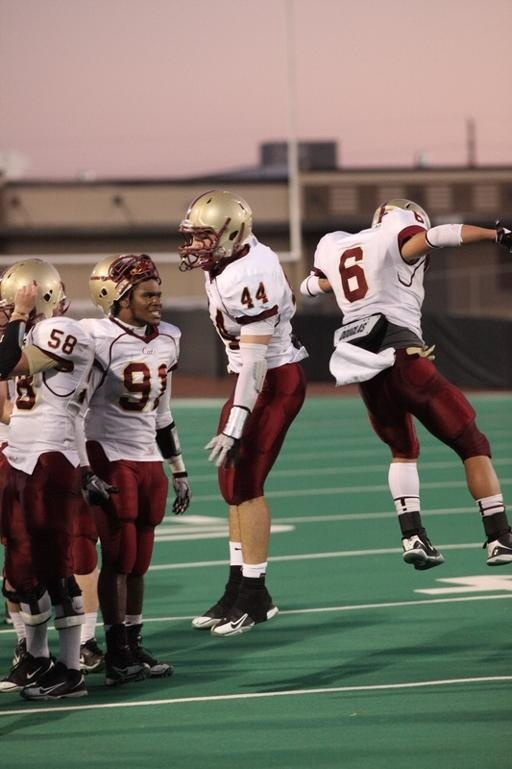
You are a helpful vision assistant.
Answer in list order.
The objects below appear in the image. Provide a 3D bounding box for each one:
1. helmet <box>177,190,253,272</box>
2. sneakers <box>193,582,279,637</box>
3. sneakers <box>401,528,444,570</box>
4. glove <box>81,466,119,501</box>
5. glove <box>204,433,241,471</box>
[{"bbox_3d":[-0.181,-0.690,3.801,0.469,0.355,0.339,-3,9,-16],"label":"helmet"},{"bbox_3d":[-0.015,0.988,3.807,0.457,0.244,0.156,0,0,-39],"label":"sneakers"},{"bbox_3d":[0.727,0.713,3.652,0.109,0.103,0.254,-10,-18,32],"label":"sneakers"},{"bbox_3d":[-0.528,0.342,2.954,0.082,0.100,0.147,-34,-15,37],"label":"glove"},{"bbox_3d":[-0.146,0.289,3.672,0.131,0.185,0.288,-4,4,-4],"label":"glove"}]
